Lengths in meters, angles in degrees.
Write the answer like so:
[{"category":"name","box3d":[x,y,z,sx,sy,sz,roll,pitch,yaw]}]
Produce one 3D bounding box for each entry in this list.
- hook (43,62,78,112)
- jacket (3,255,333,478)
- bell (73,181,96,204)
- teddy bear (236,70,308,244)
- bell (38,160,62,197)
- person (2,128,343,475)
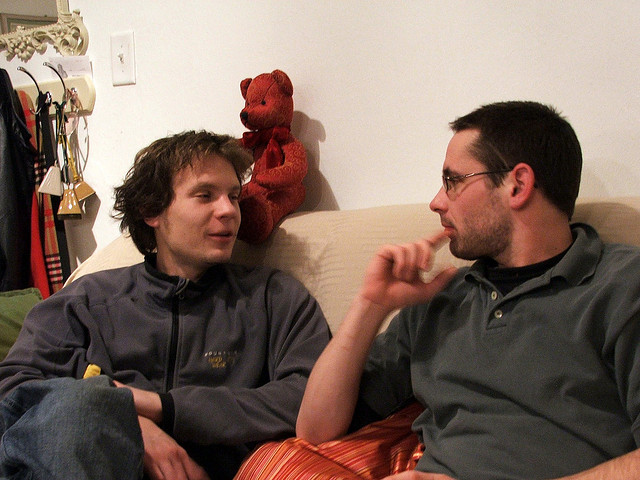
[{"category":"hook","box3d":[-1.266,-0.739,2.622,0.194,0.227,0.104,12,16,42]},{"category":"jacket","box3d":[-0.389,0.298,1.630,0.952,0.578,0.577,5,7,10]},{"category":"bell","box3d":[-1.128,-0.235,2.598,0.076,0.074,0.063,-33,7,23]},{"category":"teddy bear","box3d":[-0.240,-0.318,2.059,0.367,0.600,0.384,-9,17,-14]},{"category":"bell","box3d":[-1.262,-0.270,2.546,0.068,0.147,0.118,12,15,42]},{"category":"person","box3d":[-0.424,0.180,1.696,0.912,1.276,0.709,-1,-17,-5]}]
